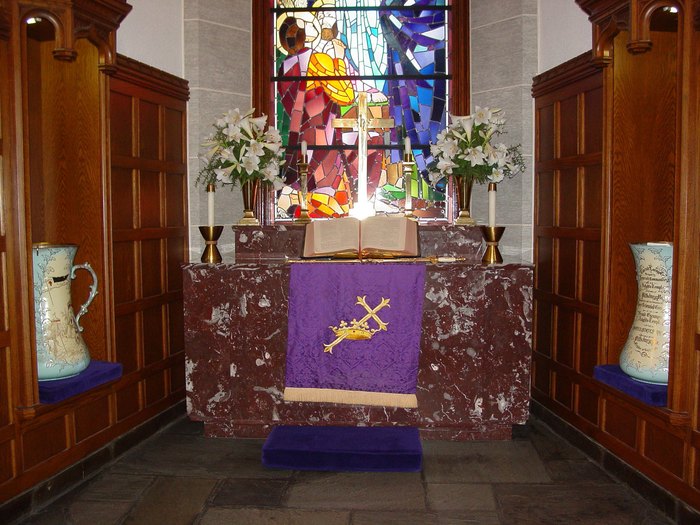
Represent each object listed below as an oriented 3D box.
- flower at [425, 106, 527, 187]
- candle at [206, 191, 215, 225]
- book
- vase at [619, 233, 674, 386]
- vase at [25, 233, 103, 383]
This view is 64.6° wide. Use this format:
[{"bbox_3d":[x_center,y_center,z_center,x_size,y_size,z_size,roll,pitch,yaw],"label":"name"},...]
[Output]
[{"bbox_3d":[0.826,-0.629,3.806,0.505,0.577,0.540,20,5,13],"label":"flower"},{"bbox_3d":[-0.842,-0.329,3.349,0.035,0.207,0.105,-3,10,-17],"label":"candle"},{"bbox_3d":[0.065,-0.159,3.351,0.697,0.231,0.196,0,10,0],"label":"book"},{"bbox_3d":[1.537,0.255,2.804,0.141,0.705,0.323,-2,10,-11],"label":"vase"},{"bbox_3d":[-1.554,0.256,2.923,0.199,0.702,0.459,2,10,12],"label":"vase"}]
